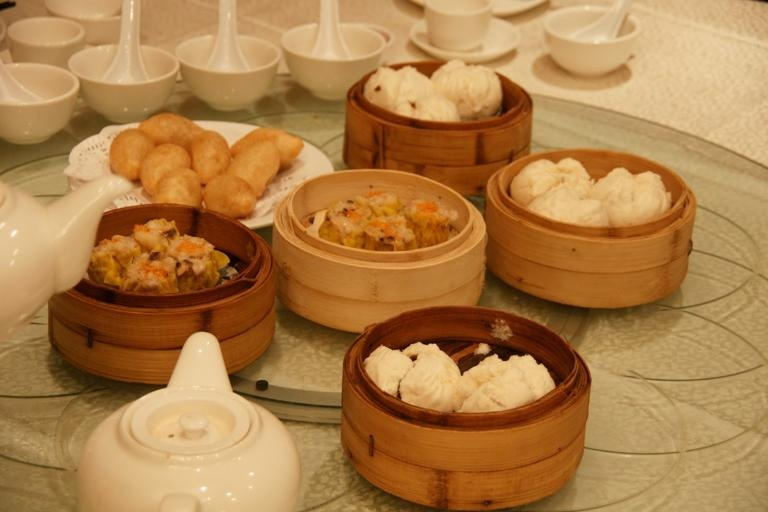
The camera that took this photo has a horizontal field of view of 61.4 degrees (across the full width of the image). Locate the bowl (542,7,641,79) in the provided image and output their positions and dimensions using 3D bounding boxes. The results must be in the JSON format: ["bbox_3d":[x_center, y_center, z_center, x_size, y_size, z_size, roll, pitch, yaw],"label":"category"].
[{"bbox_3d":[0.702,-0.747,2.266,0.266,0.150,0.272,-5,47,5],"label":"bowl"}]

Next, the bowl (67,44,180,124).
[{"bbox_3d":[-0.769,-0.516,1.944,0.278,0.157,0.283,3,38,-3],"label":"bowl"}]

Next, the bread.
[{"bbox_3d":[-0.442,-0.293,1.653,0.333,0.083,0.350,-17,41,-32],"label":"bread"}]

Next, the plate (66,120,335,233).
[{"bbox_3d":[-0.553,-0.274,1.784,0.448,0.063,0.437,27,35,22],"label":"plate"}]
